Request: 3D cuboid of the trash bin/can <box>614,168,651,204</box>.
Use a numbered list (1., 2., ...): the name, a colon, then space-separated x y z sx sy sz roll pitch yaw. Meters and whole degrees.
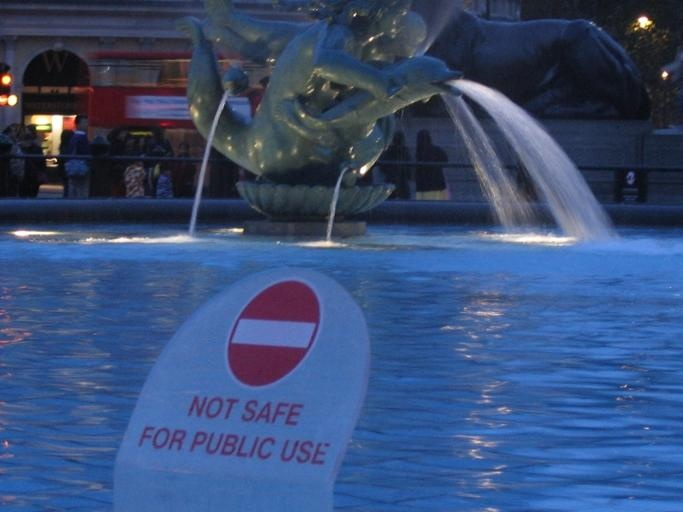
1. trash bin/can: 3.624 -0.876 19.291 0.405 0.428 0.322 0 7 7
